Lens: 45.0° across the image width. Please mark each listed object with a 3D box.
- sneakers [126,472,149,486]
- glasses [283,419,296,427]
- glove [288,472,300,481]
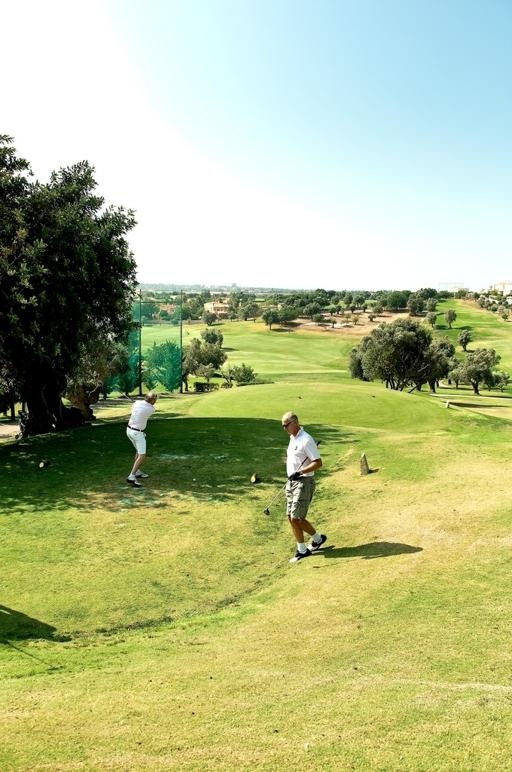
[{"bbox_3d":[-2.589,2.044,13.482,0.175,0.233,0.568,7,3,18],"label":"sneakers"},{"bbox_3d":[0.450,0.522,8.702,0.038,0.127,0.123,29,-22,-16],"label":"glasses"},{"bbox_3d":[0.544,1.343,9.029,0.220,0.141,0.060,-2,6,42],"label":"glove"}]
